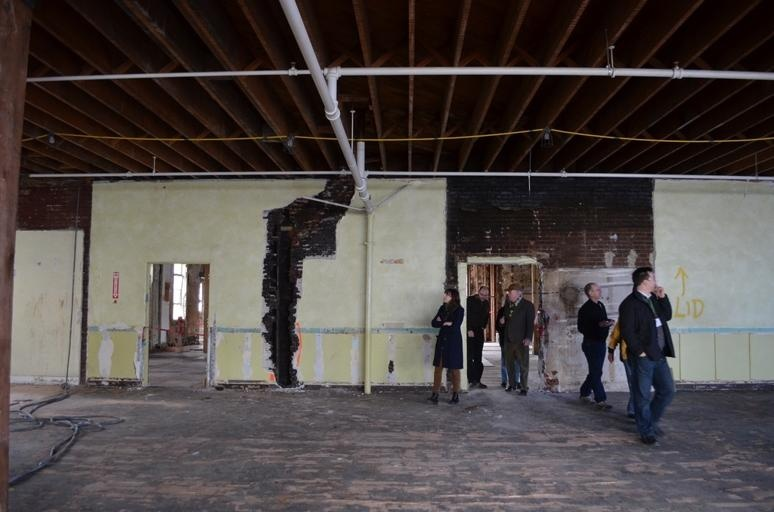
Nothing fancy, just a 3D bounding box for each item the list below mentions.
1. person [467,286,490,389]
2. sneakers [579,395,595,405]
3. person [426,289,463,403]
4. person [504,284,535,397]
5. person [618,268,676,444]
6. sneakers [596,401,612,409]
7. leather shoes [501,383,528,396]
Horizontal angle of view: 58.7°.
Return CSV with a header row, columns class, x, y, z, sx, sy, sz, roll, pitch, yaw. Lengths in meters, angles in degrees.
class,x,y,z,sx,sy,sz,roll,pitch,yaw
person,1.659,1.464,12.786,0.396,1.790,0.677,1,8,6
sneakers,3.359,2.404,11.586,0.270,0.121,0.104,-4,-7,18
person,0.979,1.514,11.423,0.542,1.881,0.626,1,8,6
person,2.298,1.484,12.096,0.498,1.907,0.449,3,8,24
person,3.673,1.360,9.670,0.732,2.327,0.775,7,10,42
sneakers,3.468,2.391,11.078,0.239,0.115,0.093,0,-6,10
leather shoes,2.234,2.360,12.180,0.442,0.197,0.153,4,-9,1
